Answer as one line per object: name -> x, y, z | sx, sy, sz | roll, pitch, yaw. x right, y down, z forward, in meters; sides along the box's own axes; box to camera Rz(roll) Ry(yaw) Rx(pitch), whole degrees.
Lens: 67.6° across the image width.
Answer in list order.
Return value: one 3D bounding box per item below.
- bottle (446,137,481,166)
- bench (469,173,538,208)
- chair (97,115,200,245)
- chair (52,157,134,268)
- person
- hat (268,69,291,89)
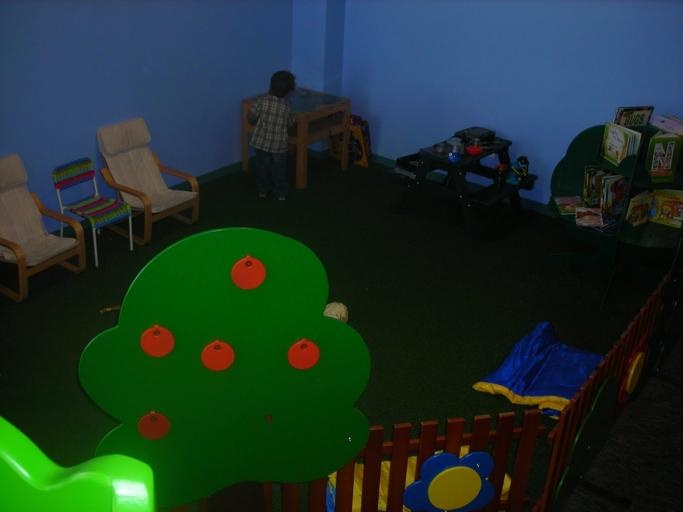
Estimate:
bottle -> 1.575, -1.382, 6.710 | 0.473, 0.235, 0.267 | 1, 47, -2
bench -> 2.185, -0.858, 6.903 | 1.205, 0.421, 0.335 | -17, 31, -33
chair -> -2.380, -0.906, 6.201 | 0.993, 1.179, 0.925 | 27, 35, 29
chair -> -2.845, -0.510, 5.826 | 0.605, 1.000, 0.482 | 21, 33, 21
person -> -0.989, -1.697, 7.131 | 0.611, 1.656, 0.705 | -4, 26, -10
hat -> -0.855, -2.396, 6.960 | 0.295, 0.305, 0.228 | -5, 42, -13
